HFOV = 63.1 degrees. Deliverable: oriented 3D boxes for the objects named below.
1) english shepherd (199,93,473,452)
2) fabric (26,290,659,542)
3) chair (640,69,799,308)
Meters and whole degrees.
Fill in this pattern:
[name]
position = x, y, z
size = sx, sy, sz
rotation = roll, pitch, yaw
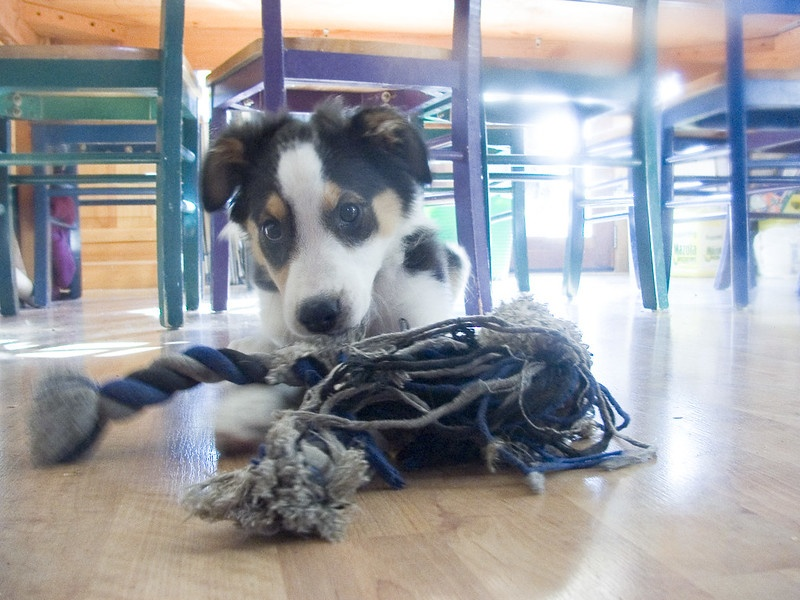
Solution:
[english shepherd]
position = -0.145, -0.115, 1.592
size = 0.691, 0.625, 1.038
rotation = -1, 15, 9
[fabric]
position = -0.064, 0.129, 0.949
size = 0.852, 0.191, 0.500
rotation = -6, 11, -26
[chair]
position = 1.415, -0.513, 2.877
size = 0.353, 0.823, 0.574
rotation = -2, 11, -4
